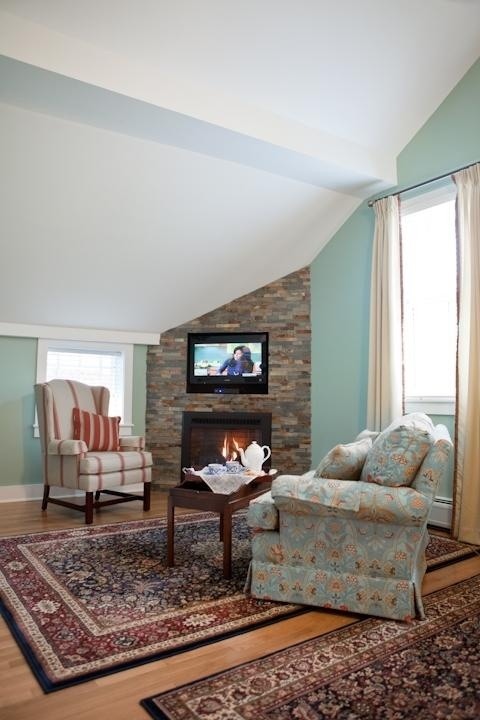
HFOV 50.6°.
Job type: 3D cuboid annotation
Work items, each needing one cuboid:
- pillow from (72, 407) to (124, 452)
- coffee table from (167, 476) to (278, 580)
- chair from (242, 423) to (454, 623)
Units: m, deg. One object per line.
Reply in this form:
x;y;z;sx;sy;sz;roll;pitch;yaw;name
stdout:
-1.200;0.586;4.224;0.311;0.283;0.112;17;-44;-36;pillow
-0.136;0.699;2.641;0.374;0.429;0.657;0;-3;25;coffee table
0.468;0.596;2.252;0.687;0.731;0.811;3;-11;16;chair
